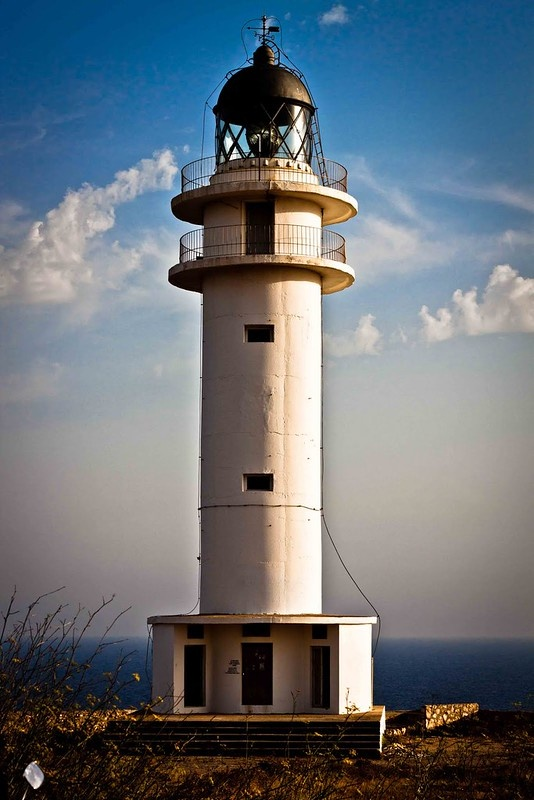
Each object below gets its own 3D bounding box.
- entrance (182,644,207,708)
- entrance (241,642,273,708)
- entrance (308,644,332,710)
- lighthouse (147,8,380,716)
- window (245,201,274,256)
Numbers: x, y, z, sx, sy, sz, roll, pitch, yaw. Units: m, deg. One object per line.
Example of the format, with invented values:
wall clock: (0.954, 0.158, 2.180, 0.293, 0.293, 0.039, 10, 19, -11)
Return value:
entrance: (-1.667, 6.388, 33.018, 0.493, 1.451, 0.155, 5, -14, -20)
entrance: (-0.228, 6.434, 33.231, 0.725, 1.699, 0.163, 2, -43, -4)
entrance: (1.209, 6.449, 33.059, 0.120, 1.533, 0.539, 2, -3, -39)
lighthouse: (-0.062, -0.781, 34.550, 4.460, 16.674, 3.510, 5, -8, -5)
window: (-0.230, -4.322, 36.161, 0.504, 1.101, 0.568, 6, 25, 17)
